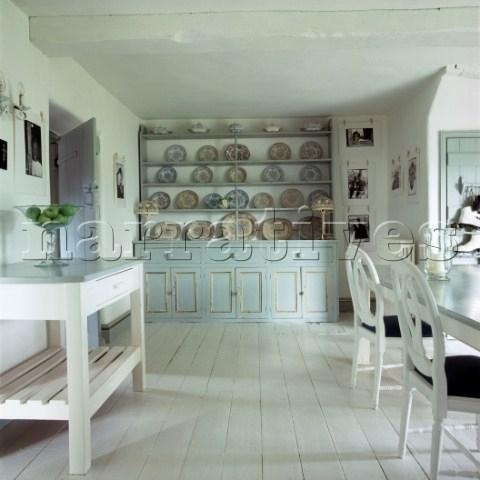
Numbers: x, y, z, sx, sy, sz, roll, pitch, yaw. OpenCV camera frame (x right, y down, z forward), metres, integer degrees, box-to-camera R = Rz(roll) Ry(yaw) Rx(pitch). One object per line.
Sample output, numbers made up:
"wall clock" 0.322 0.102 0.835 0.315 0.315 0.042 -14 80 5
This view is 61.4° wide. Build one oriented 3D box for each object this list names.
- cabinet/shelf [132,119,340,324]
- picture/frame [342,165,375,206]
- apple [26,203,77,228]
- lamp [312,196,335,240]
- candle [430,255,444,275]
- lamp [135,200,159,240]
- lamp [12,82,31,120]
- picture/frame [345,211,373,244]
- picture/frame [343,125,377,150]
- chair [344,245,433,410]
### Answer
"cabinet/shelf" 0.028 -0.189 4.528 2.063 2.323 0.659 -1 -2 1
"picture/frame" 1.419 -0.667 4.832 0.431 0.570 0.043 0 -2 -1
"apple" -1.044 -0.128 2.229 0.267 0.127 0.150 -2 4 -22
"lamp" 0.944 -0.248 4.604 0.228 0.493 0.385 0 4 12
"candle" 1.165 0.144 2.390 0.085 0.108 0.089 0 -5 -2
"lamp" -1.052 -0.240 4.682 0.216 0.383 0.227 -3 3 3
"lamp" -1.368 -0.869 2.533 0.076 0.232 0.171 -1 4 -8
"picture/frame" 1.449 -0.154 4.845 0.346 0.508 0.049 -1 2 8
"picture/frame" 1.452 -1.220 4.811 0.264 0.209 0.010 0 3 4
"chair" 0.956 0.517 2.566 0.514 0.959 0.555 -2 3 19
